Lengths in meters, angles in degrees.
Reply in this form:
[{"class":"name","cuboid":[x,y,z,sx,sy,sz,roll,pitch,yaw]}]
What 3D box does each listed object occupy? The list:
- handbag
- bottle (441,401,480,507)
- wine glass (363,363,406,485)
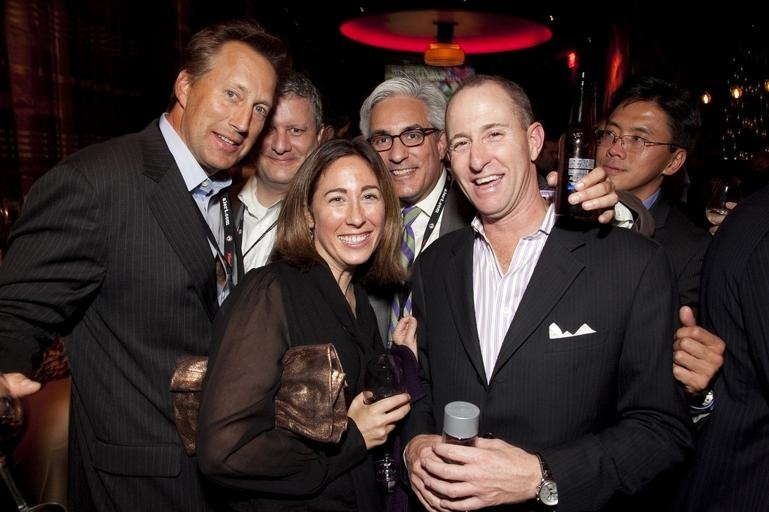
[{"class":"handbag","cuboid":[-0.535,0.757,3.399,0.988,0.479,1.257,-4,-10,17]},{"class":"bottle","cuboid":[0.344,0.823,2.712,0.179,0.210,0.184,6,10,11]},{"class":"wine glass","cuboid":[-0.005,0.889,3.108,0.196,0.792,0.239,3,8,-1]}]
